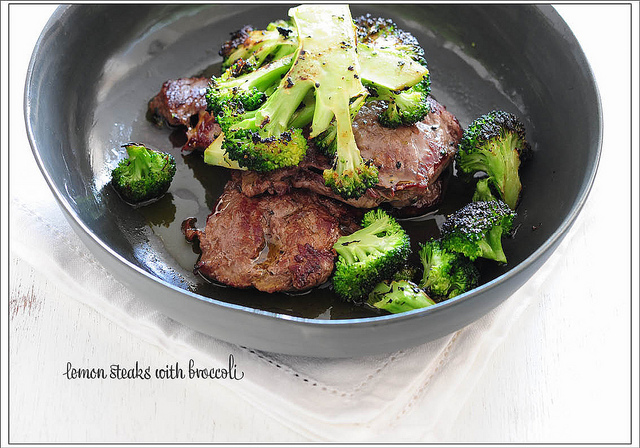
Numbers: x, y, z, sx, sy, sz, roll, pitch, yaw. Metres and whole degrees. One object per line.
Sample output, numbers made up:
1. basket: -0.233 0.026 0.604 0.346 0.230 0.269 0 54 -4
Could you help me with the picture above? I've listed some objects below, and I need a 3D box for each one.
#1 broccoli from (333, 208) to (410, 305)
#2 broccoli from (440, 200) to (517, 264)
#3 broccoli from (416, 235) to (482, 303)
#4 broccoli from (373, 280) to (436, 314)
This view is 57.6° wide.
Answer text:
1. broccoli: 0.289 0.187 3.589 0.559 0.183 0.398 -38 76 -17
2. broccoli: 1.003 0.013 3.674 0.390 0.353 0.340 -27 87 14
3. broccoli: 0.764 0.283 3.663 0.249 0.344 0.371 -39 31 2
4. broccoli: 0.510 0.426 3.509 0.397 0.274 0.123 10 106 -15
